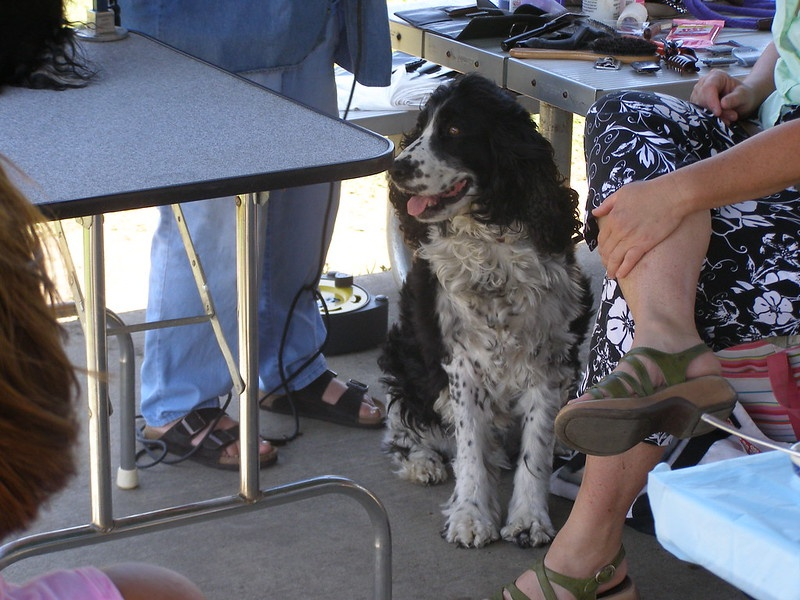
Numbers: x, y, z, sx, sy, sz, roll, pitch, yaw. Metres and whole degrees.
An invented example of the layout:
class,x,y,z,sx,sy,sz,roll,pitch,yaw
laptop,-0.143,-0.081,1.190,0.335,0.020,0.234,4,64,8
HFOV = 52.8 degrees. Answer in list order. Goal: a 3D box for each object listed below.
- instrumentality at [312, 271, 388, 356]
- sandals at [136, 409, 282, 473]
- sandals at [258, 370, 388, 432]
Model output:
class,x,y,z,sx,sy,sz,roll,pitch,yaw
instrumentality,-0.247,0.058,3.435,0.418,0.150,0.463,-5,19,-9
sandals,-0.671,0.479,2.733,0.490,0.206,0.232,5,25,14
sandals,-0.292,0.345,2.960,0.423,0.184,0.199,2,18,-3
